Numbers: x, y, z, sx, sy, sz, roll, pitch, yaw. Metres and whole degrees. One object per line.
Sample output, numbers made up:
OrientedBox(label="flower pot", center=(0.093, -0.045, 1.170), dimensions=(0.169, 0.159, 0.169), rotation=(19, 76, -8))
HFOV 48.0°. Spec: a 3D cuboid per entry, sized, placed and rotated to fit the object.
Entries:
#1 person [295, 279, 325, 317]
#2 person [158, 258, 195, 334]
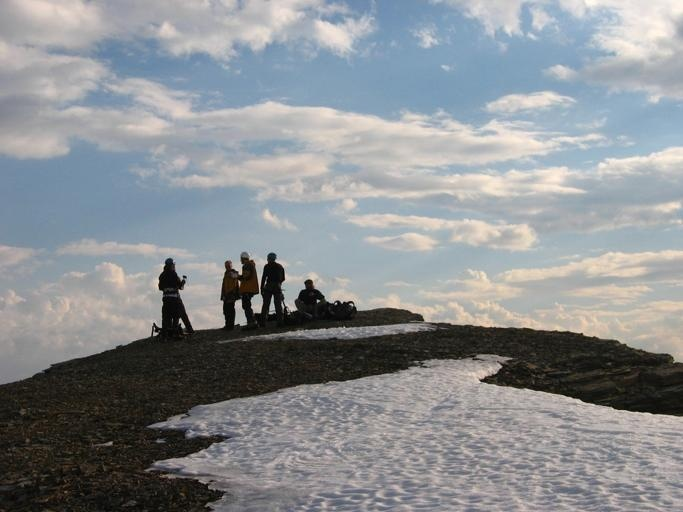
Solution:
OrientedBox(label="person", center=(-1.051, 1.350, 24.108), dimensions=(0.938, 1.390, 1.361), rotation=(-1, 13, 3))
OrientedBox(label="person", center=(-5.026, 1.284, 23.025), dimensions=(0.872, 2.528, 1.192), rotation=(-5, 14, -9))
